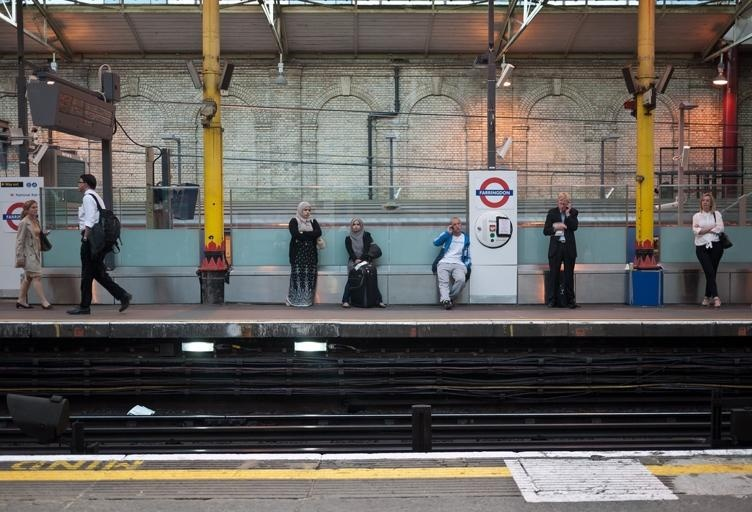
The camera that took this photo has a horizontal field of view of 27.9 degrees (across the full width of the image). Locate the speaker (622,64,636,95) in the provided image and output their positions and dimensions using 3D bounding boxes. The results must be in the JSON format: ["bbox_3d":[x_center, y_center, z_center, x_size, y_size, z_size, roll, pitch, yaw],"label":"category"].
[{"bbox_3d":[7.005,-4.916,41.989,0.371,0.811,0.808,-1,2,8],"label":"speaker"}]

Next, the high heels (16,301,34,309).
[{"bbox_3d":[-9.358,1.306,40.820,0.486,0.175,0.159,-9,8,-37],"label":"high heels"}]

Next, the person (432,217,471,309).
[{"bbox_3d":[2.133,0.166,41.308,1.027,2.444,0.893,-1,2,-11],"label":"person"}]

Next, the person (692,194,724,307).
[{"bbox_3d":[9.011,-0.169,41.262,0.784,3.020,0.598,0,2,19],"label":"person"}]

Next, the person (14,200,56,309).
[{"bbox_3d":[-9.208,-0.067,40.946,0.938,2.916,1.037,-1,2,-7],"label":"person"}]

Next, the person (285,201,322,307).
[{"bbox_3d":[-1.943,-0.076,41.440,0.991,2.853,0.496,-1,2,-3],"label":"person"}]

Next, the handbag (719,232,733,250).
[{"bbox_3d":[9.514,-0.444,41.355,0.181,0.372,0.420,-30,9,11],"label":"handbag"}]

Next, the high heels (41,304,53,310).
[{"bbox_3d":[-8.774,1.350,40.694,0.232,0.155,0.299,-1,2,-12],"label":"high heels"}]

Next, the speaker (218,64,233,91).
[{"bbox_3d":[-4.082,-4.974,41.601,0.351,0.702,0.760,-1,2,-6],"label":"speaker"}]

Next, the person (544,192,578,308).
[{"bbox_3d":[5.077,-0.116,41.293,1.096,2.895,0.861,-1,-4,4],"label":"person"}]

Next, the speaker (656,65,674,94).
[{"bbox_3d":[7.914,-4.916,41.648,0.420,0.773,0.712,-1,2,10],"label":"speaker"}]
